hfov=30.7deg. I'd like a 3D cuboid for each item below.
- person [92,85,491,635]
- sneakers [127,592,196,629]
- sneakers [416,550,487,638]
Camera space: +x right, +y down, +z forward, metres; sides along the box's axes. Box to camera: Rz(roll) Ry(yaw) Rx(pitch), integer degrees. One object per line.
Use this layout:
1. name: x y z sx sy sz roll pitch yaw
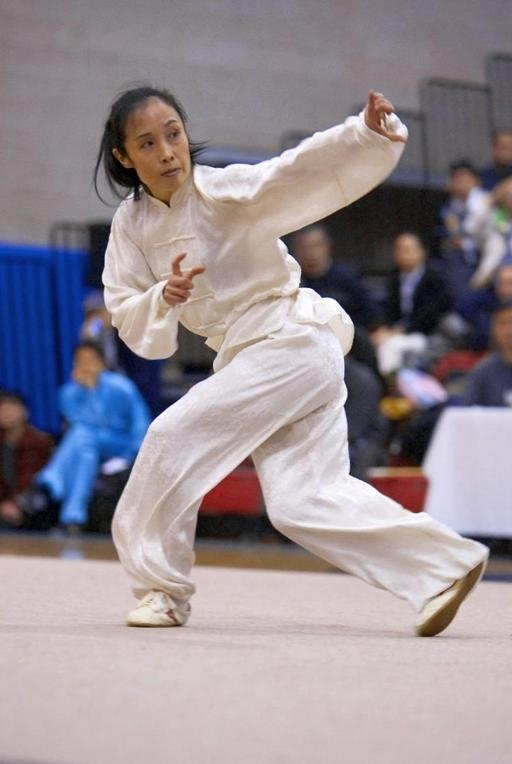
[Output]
1. person: 0.056 -0.059 2.047 0.796 1.185 0.420 -1 6 -3
2. sneakers: -0.208 0.497 2.019 0.139 0.051 0.069 12 -15 -38
3. sneakers: 0.392 0.455 1.976 0.079 0.246 0.093 50 -12 22
